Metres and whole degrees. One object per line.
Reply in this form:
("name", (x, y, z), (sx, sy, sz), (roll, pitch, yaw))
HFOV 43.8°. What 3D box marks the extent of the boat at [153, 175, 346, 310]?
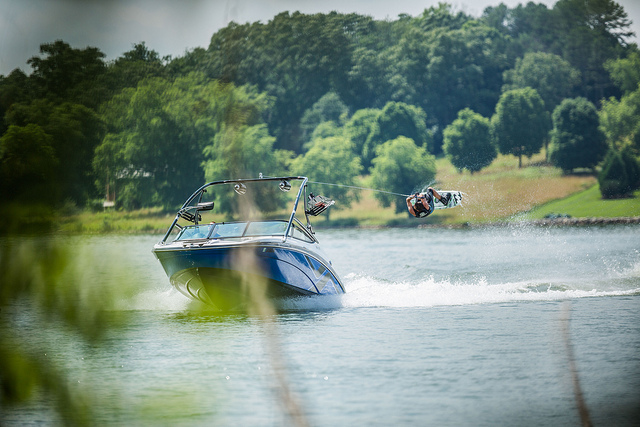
("boat", (-2.139, 0.574, 44.569), (9.750, 6.980, 14.654), (-8, -9, 31))
